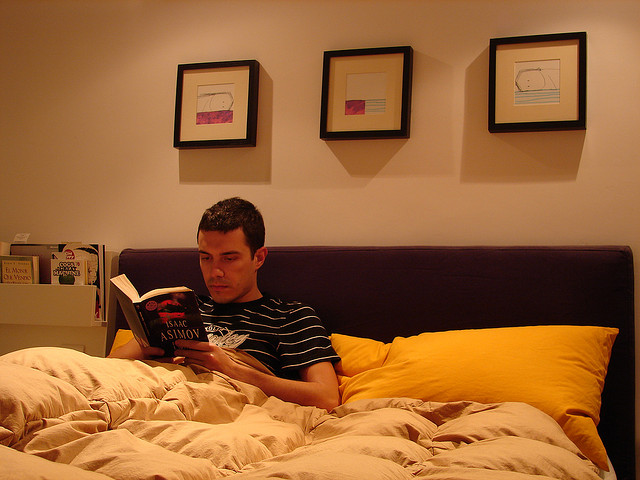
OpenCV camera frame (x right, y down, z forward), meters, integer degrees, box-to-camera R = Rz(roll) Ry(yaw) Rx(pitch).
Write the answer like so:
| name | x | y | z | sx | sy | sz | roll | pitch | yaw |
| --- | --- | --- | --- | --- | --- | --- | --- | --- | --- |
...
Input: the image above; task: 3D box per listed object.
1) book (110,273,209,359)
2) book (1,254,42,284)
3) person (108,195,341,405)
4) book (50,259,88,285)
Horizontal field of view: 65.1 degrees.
| name | x | y | z | sx | sy | sz | roll | pitch | yaw |
| --- | --- | --- | --- | --- | --- | --- | --- | --- | --- |
| book | -0.510 | 0.247 | 1.703 | 0.361 | 0.247 | 0.121 | 5 | 35 | 17 |
| book | -1.395 | 0.139 | 2.353 | 0.125 | 0.121 | 0.042 | -1 | -1 | 5 |
| person | -0.398 | 0.246 | 2.007 | 0.993 | 0.761 | 0.583 | 1 | 5 | 18 |
| book | -1.153 | 0.142 | 2.342 | 0.190 | 0.142 | 0.106 | -1 | 1 | 1 |
